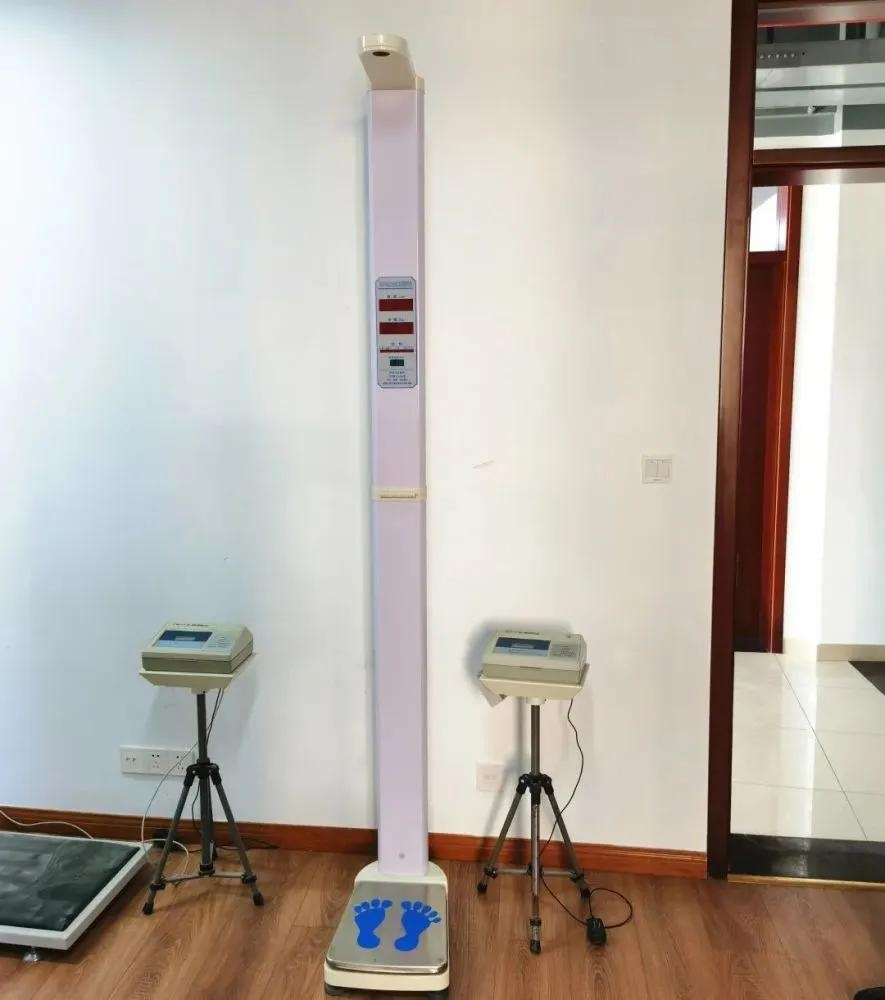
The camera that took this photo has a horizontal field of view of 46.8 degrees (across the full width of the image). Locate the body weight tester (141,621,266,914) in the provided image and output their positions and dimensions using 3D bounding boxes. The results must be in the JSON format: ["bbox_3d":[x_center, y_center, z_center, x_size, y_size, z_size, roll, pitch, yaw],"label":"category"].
[{"bbox_3d":[-0.724,0.750,3.036,0.341,0.778,0.447,-3,10,-11],"label":"body weight tester"}]

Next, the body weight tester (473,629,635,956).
[{"bbox_3d":[0.316,0.778,2.891,0.438,0.784,0.498,-1,10,0],"label":"body weight tester"}]

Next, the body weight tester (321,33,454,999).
[{"bbox_3d":[-0.160,0.055,2.650,0.307,2.318,0.586,-1,9,0],"label":"body weight tester"}]
